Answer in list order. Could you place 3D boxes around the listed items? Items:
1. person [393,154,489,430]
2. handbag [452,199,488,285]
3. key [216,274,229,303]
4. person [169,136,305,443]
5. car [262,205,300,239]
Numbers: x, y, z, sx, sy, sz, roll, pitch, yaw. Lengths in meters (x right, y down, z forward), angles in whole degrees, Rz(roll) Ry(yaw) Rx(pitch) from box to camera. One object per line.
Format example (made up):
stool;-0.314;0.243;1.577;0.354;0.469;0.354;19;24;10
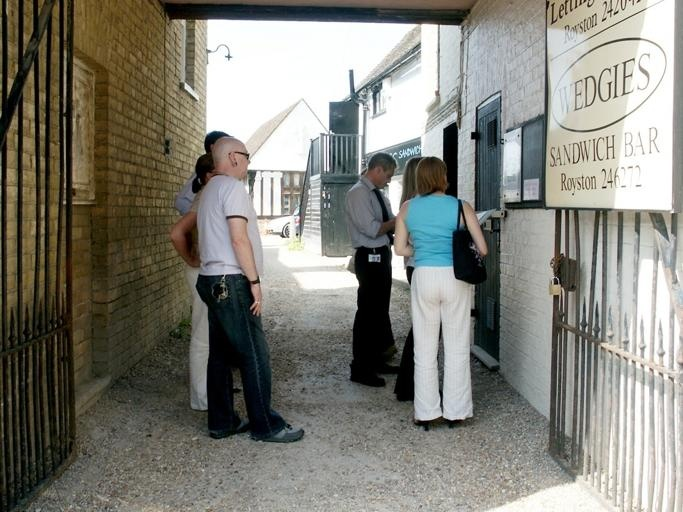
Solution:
person;0.795;0.462;4.395;0.724;1.912;0.343;0;8;8
handbag;0.999;-0.107;4.225;0.255;0.646;0.232;1;8;12
key;-0.897;0.256;3.987;0.108;0.169;0.040;1;5;2
person;-0.840;0.270;4.244;0.975;2.375;0.537;6;11;43
car;-3.187;-1.900;31.617;2.805;1.189;1.505;1;1;2
